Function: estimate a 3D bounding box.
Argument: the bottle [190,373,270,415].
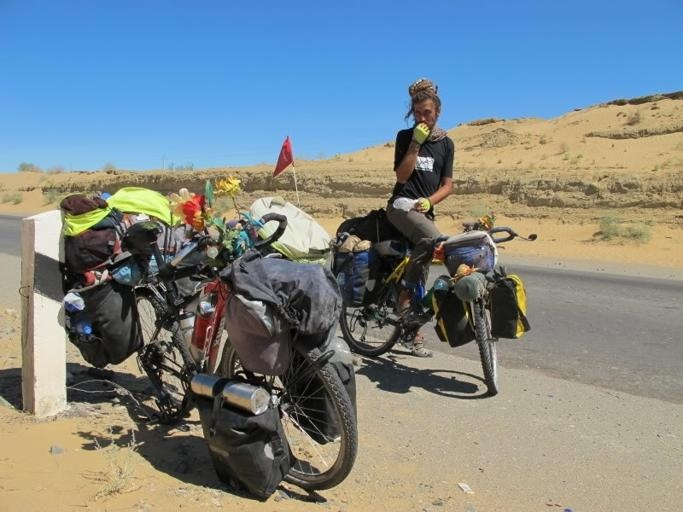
[{"bbox_3d":[-0.766,0.921,3.568,0.602,0.166,0.176,4,-2,35],"label":"bottle"}]

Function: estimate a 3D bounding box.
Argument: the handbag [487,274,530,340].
[{"bbox_3d":[1.684,0.502,5.229,0.409,0.672,0.333,-3,12,-27],"label":"handbag"}]

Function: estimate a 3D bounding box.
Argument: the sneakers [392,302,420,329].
[{"bbox_3d":[0.738,0.646,5.738,0.235,0.101,0.295,4,7,-16],"label":"sneakers"}]

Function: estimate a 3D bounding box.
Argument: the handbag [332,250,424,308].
[{"bbox_3d":[0.614,0.246,6.285,1.294,0.703,0.844,-2,-18,8],"label":"handbag"}]

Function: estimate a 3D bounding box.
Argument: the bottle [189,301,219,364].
[{"bbox_3d":[-1.018,0.576,3.952,0.306,0.425,0.114,16,4,34],"label":"bottle"}]

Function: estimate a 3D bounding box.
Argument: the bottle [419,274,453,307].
[{"bbox_3d":[0.997,0.379,5.393,0.358,0.208,0.163,-38,-34,23],"label":"bottle"}]

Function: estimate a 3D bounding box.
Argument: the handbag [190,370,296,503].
[{"bbox_3d":[-0.695,1.221,3.558,0.680,0.788,0.268,7,11,25],"label":"handbag"}]
